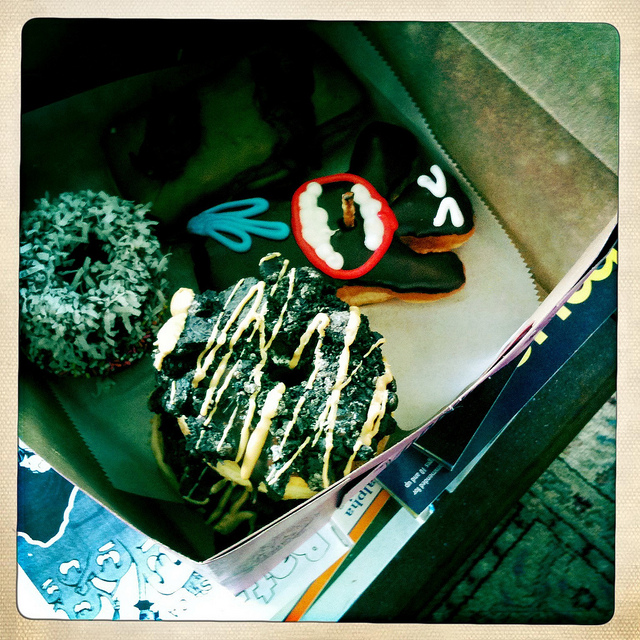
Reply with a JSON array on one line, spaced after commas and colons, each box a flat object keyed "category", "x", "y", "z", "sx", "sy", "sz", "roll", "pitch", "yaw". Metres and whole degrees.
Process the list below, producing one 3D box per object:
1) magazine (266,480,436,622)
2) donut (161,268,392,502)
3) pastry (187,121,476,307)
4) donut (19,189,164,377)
[{"category": "magazine", "x": 0.046, "y": 0.415, "z": 1.216, "sx": 0.304, "sy": 0.161, "sz": 0.326, "roll": -8, "pitch": 81, "yaw": 7}, {"category": "donut", "x": -0.081, "y": 0.134, "z": 1.287, "sx": 0.412, "sy": 0.125, "sz": 0.398, "roll": -36, "pitch": 75, "yaw": -12}, {"category": "pastry", "x": 0.039, "y": -0.211, "z": 1.419, "sx": 0.604, "sy": 0.342, "sz": 0.426, "roll": -14, "pitch": 55, "yaw": -7}, {"category": "donut", "x": -0.397, "y": -0.047, "z": 1.237, "sx": 0.352, "sy": 0.116, "sz": 0.285, "roll": -8, "pitch": 84, "yaw": -7}]
